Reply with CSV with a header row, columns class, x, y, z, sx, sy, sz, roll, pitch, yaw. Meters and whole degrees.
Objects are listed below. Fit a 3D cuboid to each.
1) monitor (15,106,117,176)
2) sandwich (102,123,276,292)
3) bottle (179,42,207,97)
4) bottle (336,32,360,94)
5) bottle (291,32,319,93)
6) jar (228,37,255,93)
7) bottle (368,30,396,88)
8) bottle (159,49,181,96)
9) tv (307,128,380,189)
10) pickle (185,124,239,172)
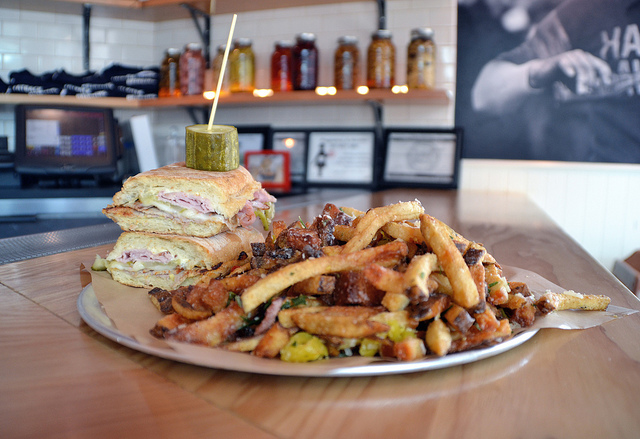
class,x,y,z,sx,sy,sz,roll,pitch,yaw
monitor,-1.512,-0.476,2.727,0.528,0.398,0.165,-3,13,-16
sandwich,-0.310,-0.066,1.233,0.357,0.217,0.468,7,27,7
bottle,-0.813,-0.949,2.905,0.195,0.322,0.142,1,12,4
bottle,0.151,-0.900,2.667,0.121,0.324,0.220,2,12,9
bottle,-0.092,-0.921,2.689,0.153,0.320,0.110,0,13,-4
jar,-0.481,-0.919,2.787,0.133,0.347,0.092,1,0,16
bottle,0.369,-0.915,2.612,0.199,0.323,0.143,-4,13,-18
bottle,-0.979,-0.957,2.989,0.213,0.291,0.059,8,15,34
tv,0.170,-0.391,2.977,0.429,0.335,0.043,2,-10,5
pickle,-0.277,-0.186,1.172,0.132,0.094,0.125,7,21,4
